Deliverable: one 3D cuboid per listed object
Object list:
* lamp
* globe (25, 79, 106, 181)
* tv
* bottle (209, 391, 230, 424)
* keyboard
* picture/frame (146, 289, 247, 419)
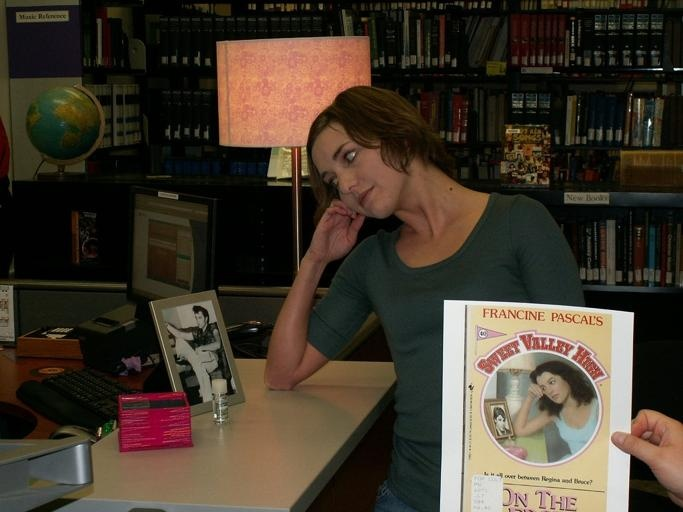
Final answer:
[{"bbox_3d":[-0.200,-0.428,2.244,0.475,1.125,0.395,-1,11,1],"label":"lamp"},{"bbox_3d":[-1.674,-0.701,3.995,0.370,0.613,0.457,31,34,27],"label":"globe"},{"bbox_3d":[-0.533,0.109,2.063,0.194,0.550,0.591,0,1,-33],"label":"tv"},{"bbox_3d":[-0.298,0.371,1.617,0.056,0.090,0.058,-1,-6,0],"label":"bottle"},{"bbox_3d":[-0.786,0.410,2.031,0.121,0.042,0.283,-17,26,-34],"label":"keyboard"},{"bbox_3d":[-0.405,0.272,1.779,0.236,0.345,0.021,-13,-5,-44],"label":"picture/frame"}]
